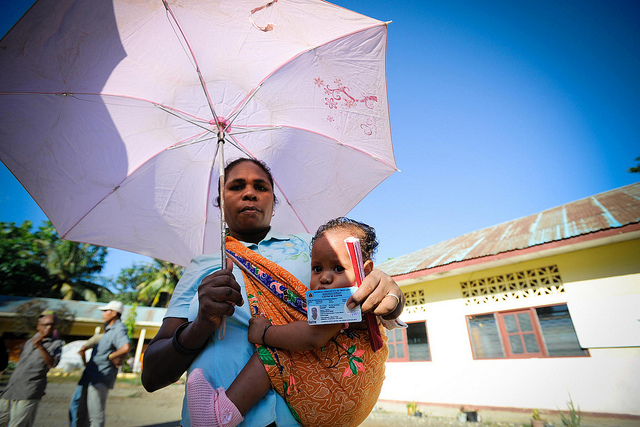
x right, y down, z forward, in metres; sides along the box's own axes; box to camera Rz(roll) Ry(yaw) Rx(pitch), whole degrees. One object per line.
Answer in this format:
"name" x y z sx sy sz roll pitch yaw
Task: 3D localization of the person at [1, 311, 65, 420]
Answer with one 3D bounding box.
"person" -6.012 3.147 7.317 0.761 2.022 0.431 16 -26 -31
